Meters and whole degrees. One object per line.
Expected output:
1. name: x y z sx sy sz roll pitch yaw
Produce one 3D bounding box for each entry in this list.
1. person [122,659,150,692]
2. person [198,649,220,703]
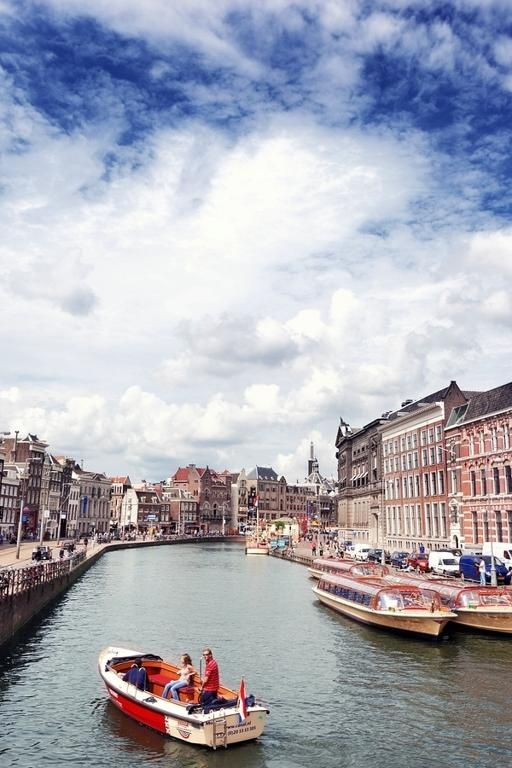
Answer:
1. person: -3.966 9.835 17.137 0.833 1.138 0.917 11 -13 -12
2. person: -1.309 8.289 14.557 0.518 1.417 0.761 1 -12 -4
